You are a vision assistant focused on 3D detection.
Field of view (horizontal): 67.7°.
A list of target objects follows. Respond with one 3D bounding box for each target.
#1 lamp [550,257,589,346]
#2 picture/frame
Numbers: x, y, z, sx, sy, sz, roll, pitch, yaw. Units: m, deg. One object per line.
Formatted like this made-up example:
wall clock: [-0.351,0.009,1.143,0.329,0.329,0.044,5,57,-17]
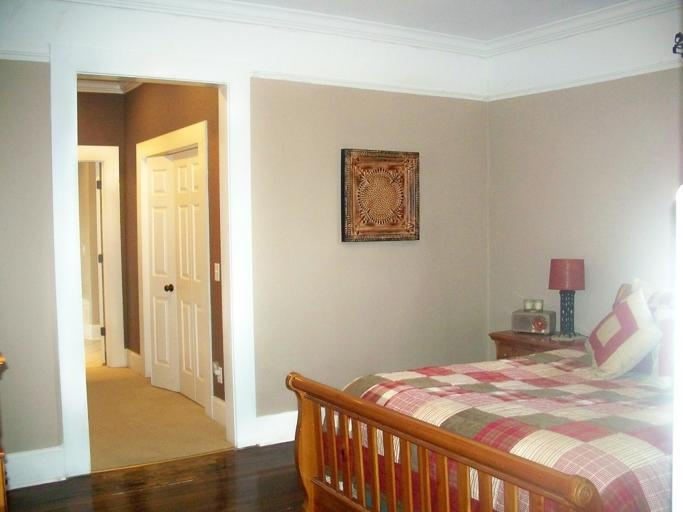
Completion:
lamp: [1.998,0.360,4.518,0.275,0.681,0.480,2,5,33]
picture/frame: [0.323,-0.583,4.771,0.785,0.887,0.089,-2,4,-24]
